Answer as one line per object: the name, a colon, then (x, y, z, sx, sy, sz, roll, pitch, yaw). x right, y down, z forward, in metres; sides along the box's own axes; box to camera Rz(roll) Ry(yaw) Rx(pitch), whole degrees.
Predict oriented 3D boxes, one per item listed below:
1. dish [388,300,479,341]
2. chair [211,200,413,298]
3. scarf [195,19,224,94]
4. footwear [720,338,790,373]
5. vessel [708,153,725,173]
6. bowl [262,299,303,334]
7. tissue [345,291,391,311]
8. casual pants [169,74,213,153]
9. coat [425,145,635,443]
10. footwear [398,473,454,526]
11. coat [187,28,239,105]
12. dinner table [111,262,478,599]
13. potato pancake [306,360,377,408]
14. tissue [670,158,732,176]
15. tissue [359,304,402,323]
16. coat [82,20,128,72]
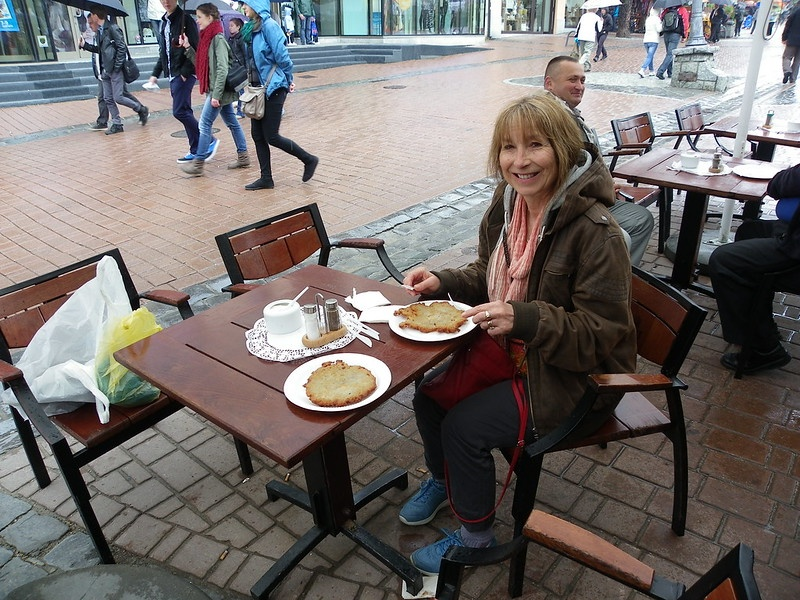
dish: (0.158, 0.105, 2.465, 0.252, 0.028, 0.254, 18, 29, 41)
chair: (-0.588, -0.175, 3.495, 0.897, 0.743, 1.022, 20, 37, 35)
scarf: (-2.874, -3.679, 7.655, 0.522, 0.930, 0.465, -21, 50, -39)
footwear: (2.690, 0.425, 3.762, 0.526, 0.231, 0.204, 0, 38, 32)
vessel: (3.018, -1.334, 4.731, 0.104, 0.175, 0.317, 11, 36, 32)
bowl: (-0.575, 0.086, 2.492, 0.180, 0.112, 0.167, -1, 30, 1)
tissue: (-0.176, 0.000, 2.720, 0.141, 0.034, 0.142, -15, 40, -28)
casual pants: (-3.701, -3.314, 8.740, 0.559, 1.470, 0.484, 8, 32, -4)
coat: (0.724, -0.060, 2.659, 1.060, 1.307, 0.993, -8, 23, -17)
footwear: (0.170, 1.106, 2.821, 0.437, 0.178, 0.158, -16, 27, -42)
coat: (-2.845, -3.624, 7.656, 0.683, 0.901, 0.499, 22, 32, 28)
dinner table: (-0.346, 0.692, 3.001, 1.593, 1.509, 1.593, 25, 43, 31)
potato pancake: (-0.254, 0.354, 2.079, 0.300, 0.034, 0.284, 9, 27, 24)
tissue: (2.866, -1.246, 4.766, 0.358, 0.040, 0.352, -22, 30, -38)
tissue: (-0.117, 0.073, 2.577, 0.113, 0.017, 0.118, 13, 32, 28)
coat: (-5.921, -5.151, 10.130, 0.654, 0.971, 0.391, -1, 27, 4)
